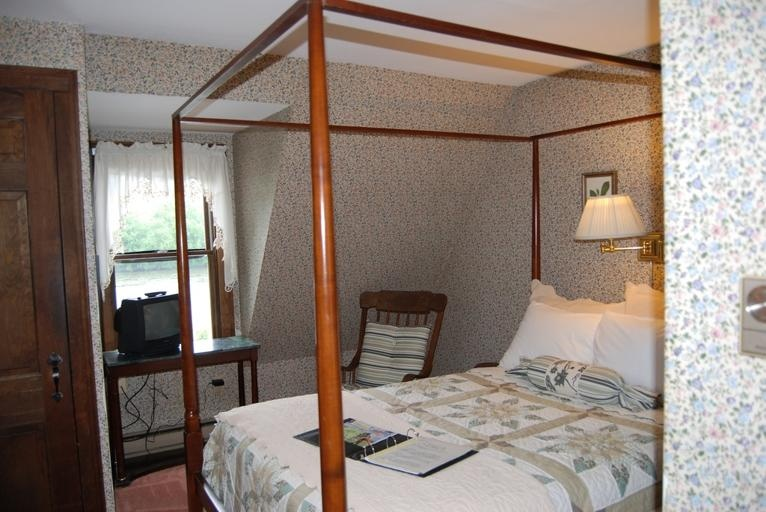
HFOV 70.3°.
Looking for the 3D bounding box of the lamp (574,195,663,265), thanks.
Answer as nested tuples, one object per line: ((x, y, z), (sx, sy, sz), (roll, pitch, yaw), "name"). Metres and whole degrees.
((1.482, -0.148, 3.484), (0.530, 0.435, 0.428), (-1, -1, -24), "lamp")

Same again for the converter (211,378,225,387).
((-1.492, 1.146, 4.946), (0.088, 0.041, 0.062), (-1, 2, -29), "converter")

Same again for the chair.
((0.160, 0.691, 4.680), (0.755, 1.201, 0.880), (0, -15, 20), "chair")

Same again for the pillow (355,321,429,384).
((0.068, 0.806, 4.449), (0.555, 0.507, 0.133), (3, -14, 32), "pillow")

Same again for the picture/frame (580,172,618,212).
((1.445, -0.431, 3.615), (0.022, 0.286, 0.297), (-1, 11, -31), "picture/frame")
